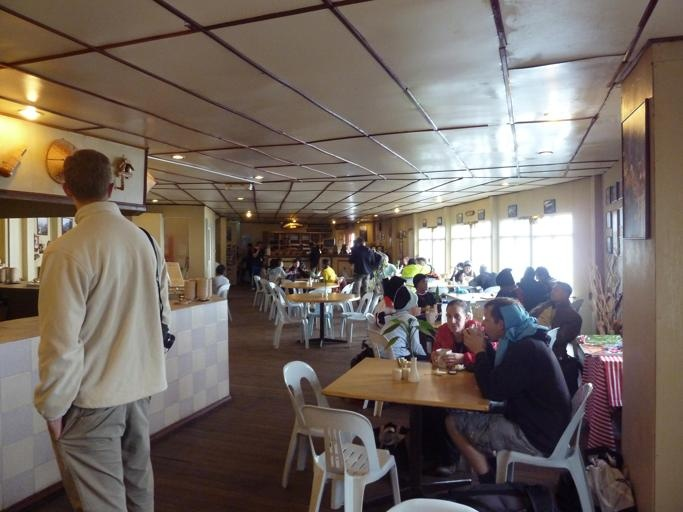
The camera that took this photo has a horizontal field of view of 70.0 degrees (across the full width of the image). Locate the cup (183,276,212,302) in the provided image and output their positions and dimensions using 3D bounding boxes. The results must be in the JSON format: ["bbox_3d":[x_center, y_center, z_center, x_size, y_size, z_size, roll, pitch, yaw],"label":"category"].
[{"bbox_3d":[-1.496,0.346,5.057,0.215,0.200,0.255,1,2,8],"label":"cup"}]

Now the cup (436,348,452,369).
[{"bbox_3d":[0.828,0.853,3.962,0.114,0.136,0.122,1,-7,0],"label":"cup"}]
